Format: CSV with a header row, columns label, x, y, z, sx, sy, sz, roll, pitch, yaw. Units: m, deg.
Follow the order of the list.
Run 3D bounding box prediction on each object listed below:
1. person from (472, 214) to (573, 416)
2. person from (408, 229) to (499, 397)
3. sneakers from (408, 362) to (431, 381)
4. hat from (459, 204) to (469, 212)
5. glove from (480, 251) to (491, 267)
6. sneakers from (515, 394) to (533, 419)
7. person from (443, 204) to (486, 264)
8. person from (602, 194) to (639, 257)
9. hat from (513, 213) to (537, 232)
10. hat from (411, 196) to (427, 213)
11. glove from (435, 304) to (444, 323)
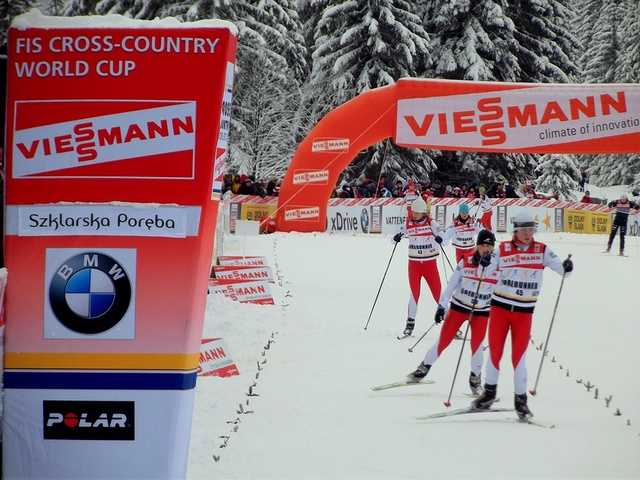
label,x,y,z,sx,sy,sz,roll,pitch,yaw
person,2.242,0.874,8.754,0.879,2.368,0.575,6,9,16
person,1.845,0.896,9.502,1.202,2.300,0.792,9,24,9
sneakers,1.311,1.740,10.011,0.312,0.246,0.113,-13,33,-1
hat,2.574,-0.572,13.588,0.157,0.142,0.121,-7,9,-28
glove,1.923,0.219,8.865,0.055,0.164,0.108,11,7,-5
sneakers,2.324,1.889,8.696,0.221,0.274,0.247,8,10,21
person,2.715,0.062,14.278,0.830,1.522,0.414,-1,25,10
person,7.688,-0.426,19.655,0.468,1.733,2.657,7,10,22
hat,2.335,-0.211,8.708,0.173,0.214,0.248,-1,17,3
hat,1.623,-0.572,12.392,0.171,0.212,0.263,4,34,18
glove,1.505,0.944,9.570,0.071,0.229,0.159,11,13,8
